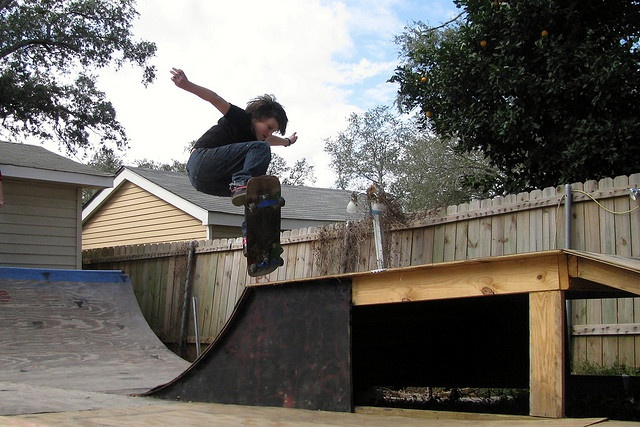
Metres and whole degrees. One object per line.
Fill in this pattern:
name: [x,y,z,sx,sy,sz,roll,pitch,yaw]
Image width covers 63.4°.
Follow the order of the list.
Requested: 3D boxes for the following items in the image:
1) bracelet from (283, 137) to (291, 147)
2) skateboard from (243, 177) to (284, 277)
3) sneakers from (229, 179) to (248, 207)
bracelet: [-0.425,-0.962,6.937,0.091,0.066,0.124,1,-2,9]
skateboard: [-0.596,0.140,5.614,0.429,1.102,0.397,2,-4,-8]
sneakers: [-0.902,-0.225,5.749,0.135,0.174,0.390,3,-23,-13]
